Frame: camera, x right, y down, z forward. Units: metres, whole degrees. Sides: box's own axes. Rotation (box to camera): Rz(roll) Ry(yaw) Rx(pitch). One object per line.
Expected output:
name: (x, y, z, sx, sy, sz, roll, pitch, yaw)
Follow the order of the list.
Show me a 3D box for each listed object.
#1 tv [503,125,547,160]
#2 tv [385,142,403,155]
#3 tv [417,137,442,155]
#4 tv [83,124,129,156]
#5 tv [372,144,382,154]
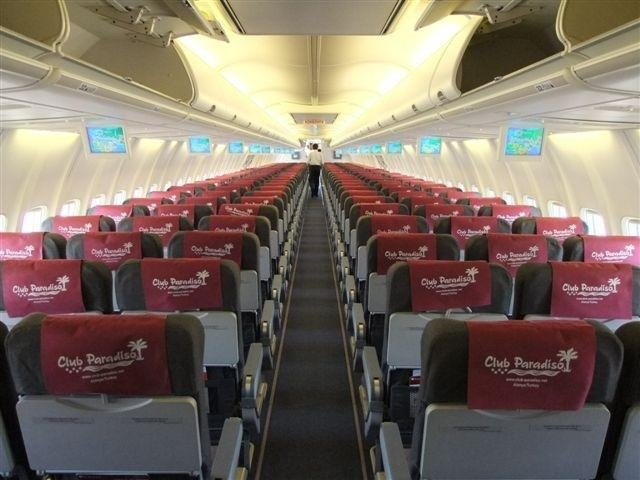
tv: (3.524, -1.722, 7.996, 0.705, 0.513, 0.086, 1, 14, 3)
tv: (3.366, -4.186, 20.926, 0.466, 0.503, 1.002, -1, -3, 28)
tv: (3.232, -2.809, 13.690, 0.682, 0.409, 0.087, 1, -3, -18)
tv: (-3.824, -1.808, 8.245, 0.736, 0.547, 0.066, -1, 22, -9)
tv: (3.352, -5.373, 27.055, 0.660, 0.130, 0.548, 4, -33, 1)
